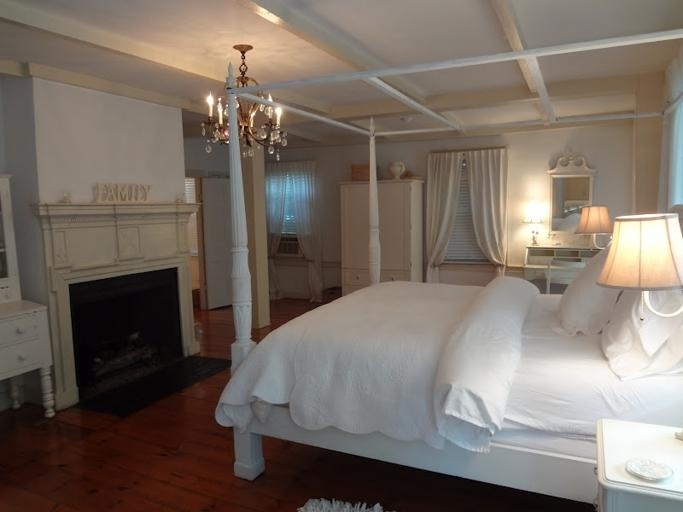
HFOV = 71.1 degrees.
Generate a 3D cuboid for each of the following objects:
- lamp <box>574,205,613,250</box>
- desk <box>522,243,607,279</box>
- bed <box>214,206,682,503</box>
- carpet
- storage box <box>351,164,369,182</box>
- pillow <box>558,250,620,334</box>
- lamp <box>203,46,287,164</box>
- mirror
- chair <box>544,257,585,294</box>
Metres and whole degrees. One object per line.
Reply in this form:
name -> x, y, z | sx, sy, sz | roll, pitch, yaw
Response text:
lamp -> 2.626, -0.290, 4.953 | 0.384, 0.441, 0.388 | -1, 7, 19
desk -> 3.112, 0.136, 6.739 | 0.944, 0.490, 0.472 | 3, 11, 33
bed -> 0.560, 0.773, 3.640 | 2.263, 1.500, 2.270 | 0, 7, 23
carpet -> -1.931, 1.346, 5.092 | 0.716, 0.041, 1.492 | 5, 12, 32
storage box -> 0.300, -1.327, 7.691 | 0.260, 0.281, 0.090 | -1, 3, 22
pillow -> 1.836, 0.285, 3.562 | 0.166, 0.554, 0.299 | 28, -3, -26
lamp -> -0.935, -1.491, 4.597 | 0.753, 0.989, 0.791 | 2, 12, 12
mirror -> 3.315, -0.886, 6.863 | 0.610, 1.302, 0.055 | 1, -22, 19
chair -> 3.034, 0.209, 6.629 | 0.646, 0.648, 0.490 | 0, 0, 29
